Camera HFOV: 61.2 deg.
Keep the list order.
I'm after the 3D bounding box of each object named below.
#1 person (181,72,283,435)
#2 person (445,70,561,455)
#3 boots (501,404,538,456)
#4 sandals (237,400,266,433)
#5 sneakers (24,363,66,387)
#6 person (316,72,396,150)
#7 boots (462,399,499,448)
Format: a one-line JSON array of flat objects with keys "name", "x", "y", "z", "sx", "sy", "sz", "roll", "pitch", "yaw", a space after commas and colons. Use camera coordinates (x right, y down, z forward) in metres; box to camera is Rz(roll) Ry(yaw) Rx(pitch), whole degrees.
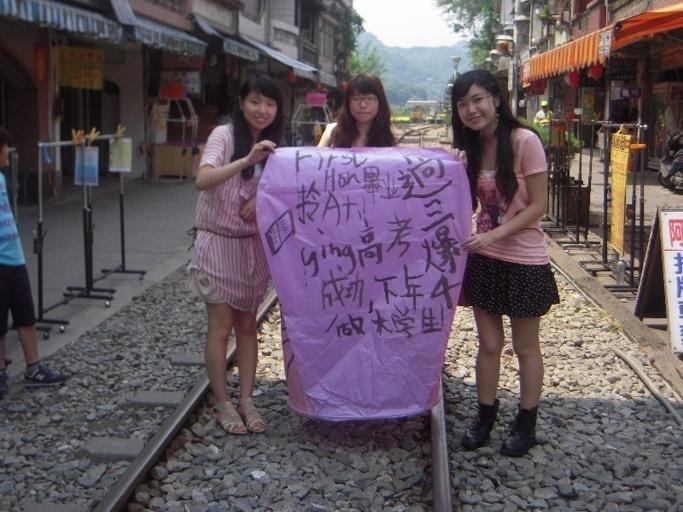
[{"name": "person", "x": -0.687, "y": 0.024, "z": 3.888, "sx": 0.645, "sy": 2.347, "sz": 0.462, "roll": -4, "pitch": 13, "yaw": -17}, {"name": "person", "x": 1.009, "y": 0.051, "z": 3.696, "sx": 0.717, "sy": 2.385, "sz": 0.489, "roll": 5, "pitch": 14, "yaw": 23}, {"name": "boots", "x": 1.170, "y": 1.122, "z": 3.760, "sx": 0.142, "sy": 0.299, "sz": 0.393, "roll": 9, "pitch": 11, "yaw": 40}, {"name": "sandals", "x": -0.636, "y": 1.092, "z": 4.053, "sx": 0.122, "sy": 0.172, "sz": 0.359, "roll": -3, "pitch": 11, "yaw": -31}, {"name": "sneakers", "x": -2.405, "y": 0.968, "z": 4.782, "sx": 0.361, "sy": 0.241, "sz": 0.154, "roll": 1, "pitch": 7, "yaw": -11}, {"name": "person", "x": 0.102, "y": -0.894, "z": 4.236, "sx": 0.646, "sy": 0.667, "sz": 0.441, "roll": 0, "pitch": 7, "yaw": -1}, {"name": "boots", "x": 0.938, "y": 1.107, "z": 3.887, "sx": 0.128, "sy": 0.196, "sz": 0.409, "roll": 4, "pitch": 9, "yaw": 26}]
